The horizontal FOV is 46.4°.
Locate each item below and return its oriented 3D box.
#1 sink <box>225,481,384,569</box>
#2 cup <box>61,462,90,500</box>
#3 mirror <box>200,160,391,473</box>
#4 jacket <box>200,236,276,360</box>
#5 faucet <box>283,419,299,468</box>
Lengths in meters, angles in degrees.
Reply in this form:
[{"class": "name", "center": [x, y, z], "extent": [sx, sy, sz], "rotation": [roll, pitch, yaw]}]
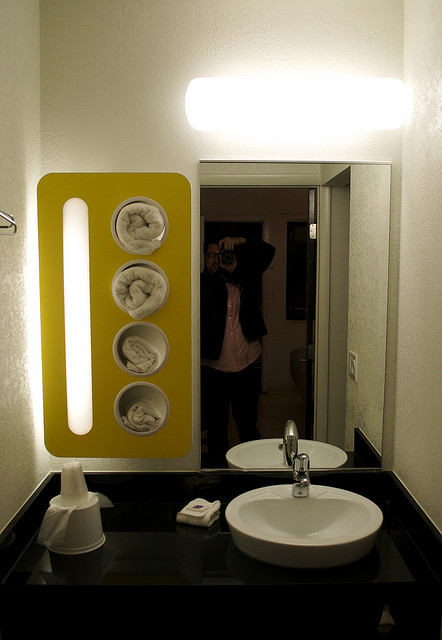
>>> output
[{"class": "sink", "center": [0.212, 0.499, 1.230], "extent": [0.362, 0.156, 0.369], "rotation": [-1, 0, 7]}, {"class": "cup", "center": [-0.354, 0.387, 1.229], "extent": [0.066, 0.113, 0.072], "rotation": [-2, -3, 0]}, {"class": "mirror", "center": [0.198, 0.069, 1.582], "extent": [0.562, 1.162, 0.075], "rotation": [1, 36, 7]}, {"class": "jacket", "center": [0.035, -0.067, 1.544], "extent": [0.217, 0.351, 0.077], "rotation": [1, 13, -6]}, {"class": "faucet", "center": [0.187, 0.331, 1.374], "extent": [0.037, 0.158, 0.036], "rotation": [-4, 29, -3]}]
